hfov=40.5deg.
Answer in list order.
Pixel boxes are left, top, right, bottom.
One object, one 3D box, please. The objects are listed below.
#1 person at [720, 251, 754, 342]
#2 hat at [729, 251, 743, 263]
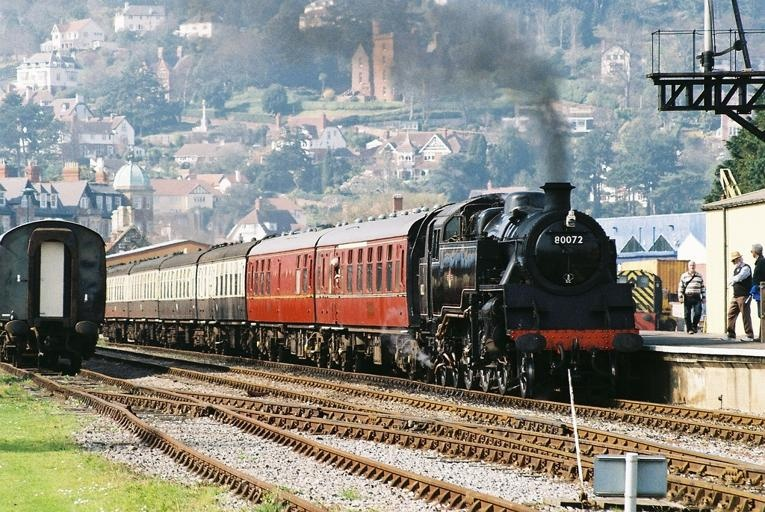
[{"bbox_3d":[8.637,0.934,25.052,0.600,1.497,3.151,-2,-2,19],"label":"person"},{"bbox_3d":[8.877,0.016,25.888,0.349,0.151,0.403,-16,-5,16],"label":"hat"}]
